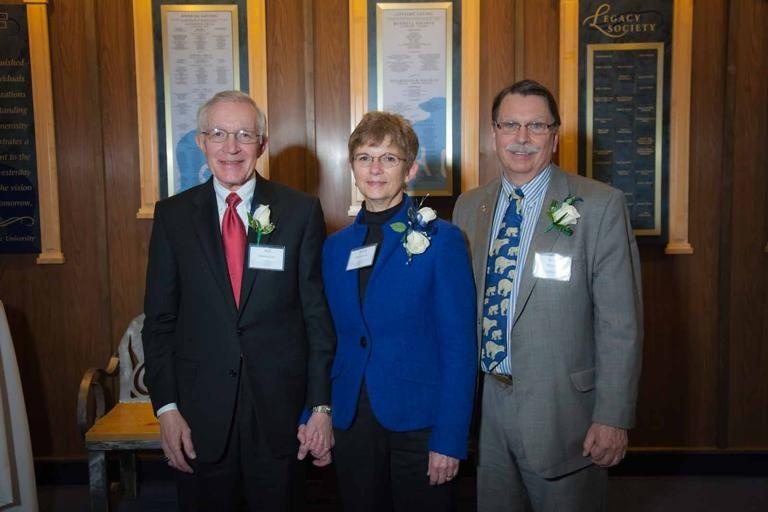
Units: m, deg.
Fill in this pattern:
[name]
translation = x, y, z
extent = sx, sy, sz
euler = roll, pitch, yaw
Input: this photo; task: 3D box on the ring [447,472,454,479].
[ring]
translation = 0.320, 1.051, 3.124
extent = 0.024, 0.029, 0.034
euler = 0, -16, 29
